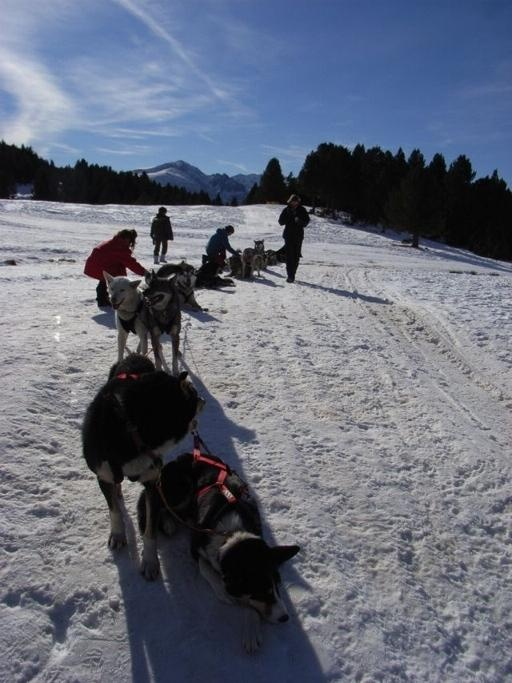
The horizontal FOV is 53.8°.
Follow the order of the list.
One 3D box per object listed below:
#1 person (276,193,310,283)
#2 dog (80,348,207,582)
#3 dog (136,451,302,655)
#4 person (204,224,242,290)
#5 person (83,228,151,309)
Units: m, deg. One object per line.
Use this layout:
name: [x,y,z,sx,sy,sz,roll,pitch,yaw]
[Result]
person: [0.905,-2.622,12.967,0.738,2.177,0.755,6,14,2]
dog: [-0.855,0.627,3.201,0.497,1.006,1.497,-5,14,-26]
dog: [-0.228,1.030,2.814,0.578,0.426,1.050,-9,30,-16]
person: [-0.900,-2.247,12.795,0.819,1.382,2.620,5,14,-3]
person: [-2.191,-1.212,8.113,1.013,1.281,0.925,19,17,7]
